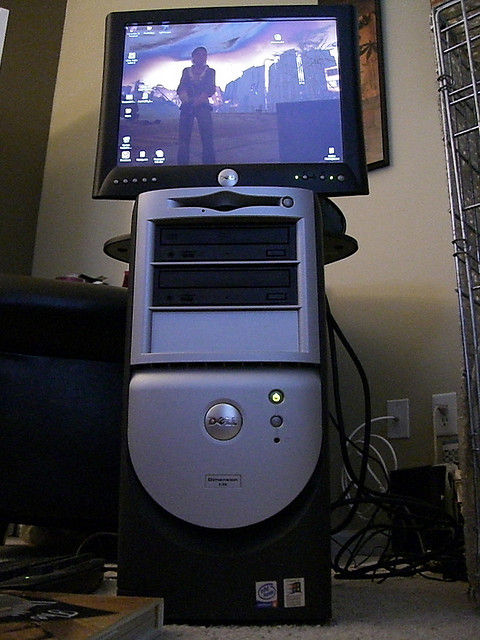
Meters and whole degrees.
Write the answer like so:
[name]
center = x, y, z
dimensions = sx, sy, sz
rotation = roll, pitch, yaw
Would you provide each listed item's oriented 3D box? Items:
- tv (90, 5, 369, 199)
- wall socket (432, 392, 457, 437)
[tv]
center = -0.011, -0.344, 1.005
dimensions = 0.399, 0.286, 0.126
rotation = 0, -8, 4
[wall socket]
center = 0.474, 0.219, 1.486
dimensions = 0.057, 0.094, 0.042
rotation = -11, -26, 35
